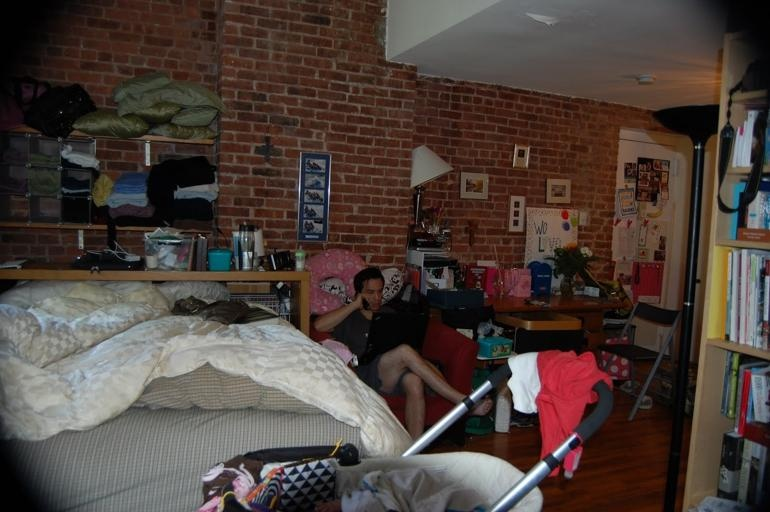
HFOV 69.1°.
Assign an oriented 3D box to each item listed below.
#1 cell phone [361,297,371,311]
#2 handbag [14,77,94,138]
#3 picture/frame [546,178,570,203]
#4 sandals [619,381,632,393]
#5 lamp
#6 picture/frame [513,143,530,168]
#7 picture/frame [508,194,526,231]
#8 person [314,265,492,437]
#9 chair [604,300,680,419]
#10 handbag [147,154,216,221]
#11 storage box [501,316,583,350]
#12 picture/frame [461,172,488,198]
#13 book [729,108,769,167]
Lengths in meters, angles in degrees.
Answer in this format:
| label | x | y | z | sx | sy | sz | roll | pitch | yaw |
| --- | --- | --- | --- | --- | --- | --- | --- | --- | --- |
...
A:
| label | x | y | z | sx | sy | sz | roll | pitch | yaw |
| --- | --- | --- | --- | --- | --- | --- | --- | --- | --- |
| cell phone | -0.158 | 0.392 | 4.500 | 0.061 | 0.099 | 0.025 | -28 | 2 | 5 |
| handbag | -2.615 | -1.166 | 4.435 | 0.489 | 0.469 | 0.205 | -6 | -23 | -26 |
| picture/frame | 1.907 | -0.732 | 6.211 | 0.300 | 0.271 | 0.021 | 0 | 1 | -24 |
| sandals | 2.357 | 1.282 | 5.484 | 0.100 | 0.109 | 0.090 | 3 | -6 | 1 |
| lamp | 0.418 | -0.640 | 5.419 | 0.374 | 0.909 | 0.500 | 3 | 3 | 2 |
| picture/frame | 1.451 | -1.083 | 5.989 | 0.270 | 0.292 | 0.041 | -2 | 6 | -25 |
| picture/frame | 1.421 | -0.452 | 6.047 | 0.196 | 0.392 | 0.048 | 1 | 4 | -32 |
| person | 0.174 | 0.765 | 4.159 | 1.219 | 1.343 | 0.633 | -3 | 7 | 35 |
| chair | 2.556 | 0.922 | 5.647 | 0.642 | 0.985 | 1.855 | 4 | 3 | 24 |
| handbag | -1.733 | -0.609 | 4.790 | 0.544 | 0.526 | 0.196 | 2 | -5 | -19 |
| storage box | 1.390 | 0.662 | 4.876 | 0.415 | 0.246 | 0.405 | 1 | 0 | -17 |
| picture/frame | 0.909 | -0.737 | 5.798 | 0.282 | 0.224 | 0.029 | -1 | 3 | -20 |
| book | 2.118 | -0.683 | 3.246 | 0.213 | 0.284 | 0.093 | 6 | -2 | 33 |
